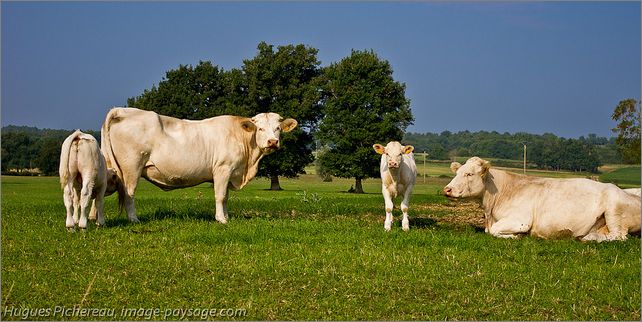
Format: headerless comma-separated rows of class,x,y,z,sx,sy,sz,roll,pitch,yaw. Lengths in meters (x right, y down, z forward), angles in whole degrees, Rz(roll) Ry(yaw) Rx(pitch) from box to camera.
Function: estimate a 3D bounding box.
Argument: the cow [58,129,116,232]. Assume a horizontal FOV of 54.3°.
cow,-10.412,0.871,27.274,1.890,4.367,1.270,1,1,-31
